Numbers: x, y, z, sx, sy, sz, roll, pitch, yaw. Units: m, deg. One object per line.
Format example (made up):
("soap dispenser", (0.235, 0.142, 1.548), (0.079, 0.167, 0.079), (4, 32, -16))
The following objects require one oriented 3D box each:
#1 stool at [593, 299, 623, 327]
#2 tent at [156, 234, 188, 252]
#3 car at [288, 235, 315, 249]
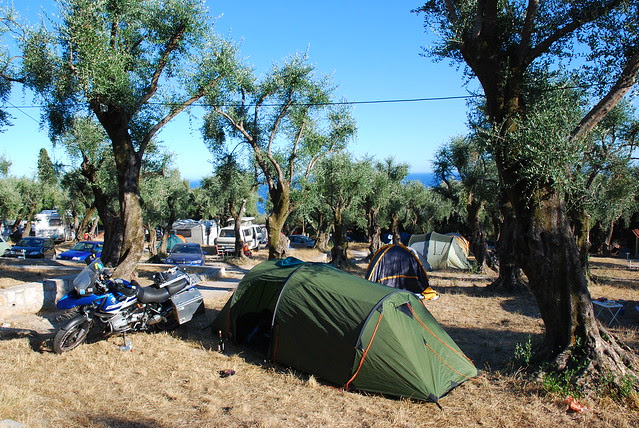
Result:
("stool", (9.023, 3.136, 16.348), (0.385, 0.432, 0.761), (-6, 5, 1))
("tent", (-10.727, 1.996, 38.645), (2.236, 1.287, 2.448), (0, -3, 0))
("car", (-1.487, 2.325, 42.395), (1.656, 0.959, 1.082), (-2, 4, 22))
